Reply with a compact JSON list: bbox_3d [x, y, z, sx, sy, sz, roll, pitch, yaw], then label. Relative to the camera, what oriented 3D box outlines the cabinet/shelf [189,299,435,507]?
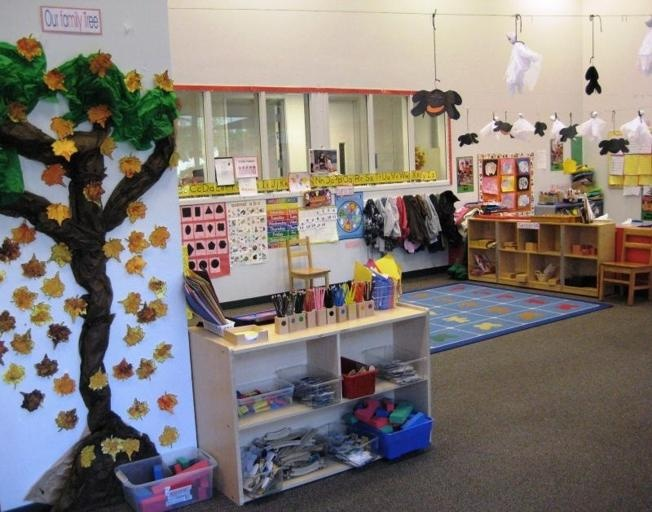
[{"bbox_3d":[-0.105,0.878,3.144,0.924,0.660,0.301,-9,13,-31],"label":"cabinet/shelf"}]

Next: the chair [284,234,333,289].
[{"bbox_3d":[-0.266,0.135,7.118,0.489,0.733,1.143,-3,8,-4],"label":"chair"}]

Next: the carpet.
[{"bbox_3d":[1.747,0.615,6.727,2.675,0.057,2.229,-7,10,-30],"label":"carpet"}]
